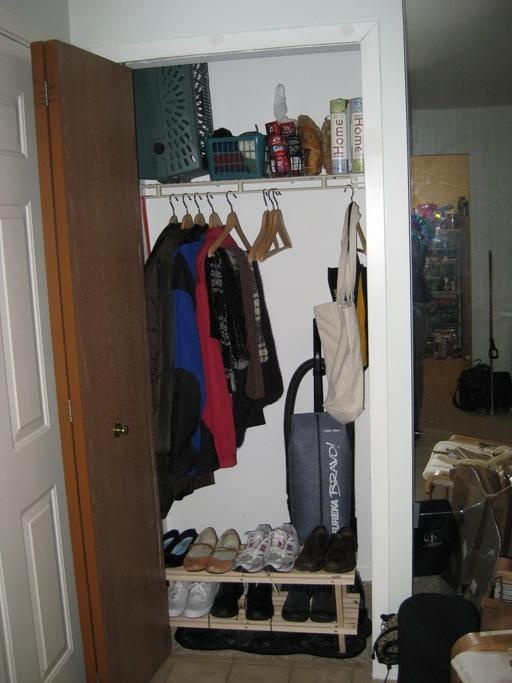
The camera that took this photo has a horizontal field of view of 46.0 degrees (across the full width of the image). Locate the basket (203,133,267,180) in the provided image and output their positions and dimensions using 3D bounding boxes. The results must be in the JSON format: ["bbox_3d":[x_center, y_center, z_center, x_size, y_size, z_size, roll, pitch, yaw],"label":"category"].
[{"bbox_3d":[-0.081,-0.669,2.133,0.161,0.130,0.179,0,21,6],"label":"basket"}]

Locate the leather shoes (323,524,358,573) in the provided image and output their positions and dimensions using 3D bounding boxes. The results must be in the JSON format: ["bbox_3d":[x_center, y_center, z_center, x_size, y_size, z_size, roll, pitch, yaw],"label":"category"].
[{"bbox_3d":[0.312,0.773,2.254,0.113,0.076,0.226,-2,13,13],"label":"leather shoes"}]

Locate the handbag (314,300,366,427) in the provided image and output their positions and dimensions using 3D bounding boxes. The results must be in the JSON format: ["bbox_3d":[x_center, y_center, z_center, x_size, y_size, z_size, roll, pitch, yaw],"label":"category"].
[{"bbox_3d":[0.283,0.085,2.055,0.168,0.449,0.104,2,12,28],"label":"handbag"}]

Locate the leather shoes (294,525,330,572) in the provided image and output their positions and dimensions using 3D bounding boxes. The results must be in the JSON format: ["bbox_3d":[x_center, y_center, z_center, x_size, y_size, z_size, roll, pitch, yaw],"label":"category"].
[{"bbox_3d":[0.203,0.782,2.236,0.065,0.072,0.181,-2,1,15],"label":"leather shoes"}]

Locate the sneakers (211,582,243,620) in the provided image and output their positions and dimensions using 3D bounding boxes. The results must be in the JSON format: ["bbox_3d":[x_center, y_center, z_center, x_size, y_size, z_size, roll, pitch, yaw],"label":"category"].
[{"bbox_3d":[-0.115,1.005,2.318,0.070,0.092,0.232,0,-14,4],"label":"sneakers"}]
